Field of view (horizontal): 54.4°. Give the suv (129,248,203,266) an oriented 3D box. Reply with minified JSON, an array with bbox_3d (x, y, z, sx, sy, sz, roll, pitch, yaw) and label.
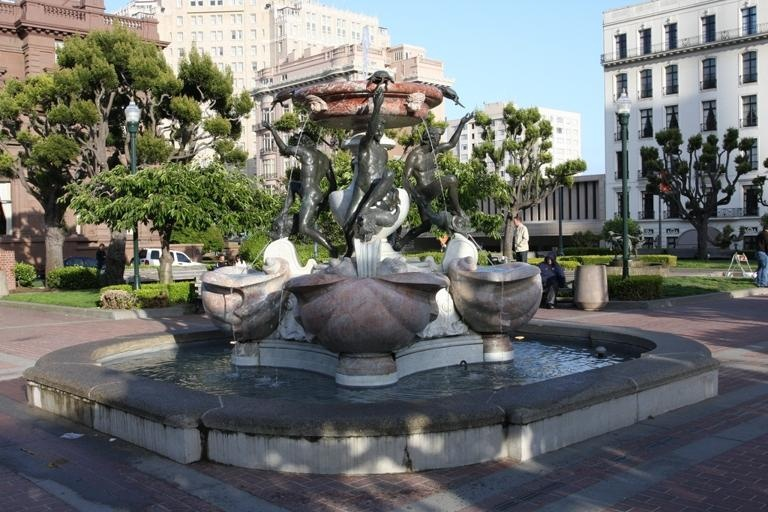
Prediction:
[{"bbox_3d":[-10.995,0.038,36.852,2.112,0.997,1.130,-2,2,-6],"label":"suv"}]

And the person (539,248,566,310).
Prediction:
[{"bbox_3d":[4.721,0.622,20.679,0.901,0.941,1.769,6,35,8],"label":"person"}]

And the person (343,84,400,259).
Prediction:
[{"bbox_3d":[-0.326,-1.513,13.297,0.893,3.037,1.511,-2,14,-3],"label":"person"}]
